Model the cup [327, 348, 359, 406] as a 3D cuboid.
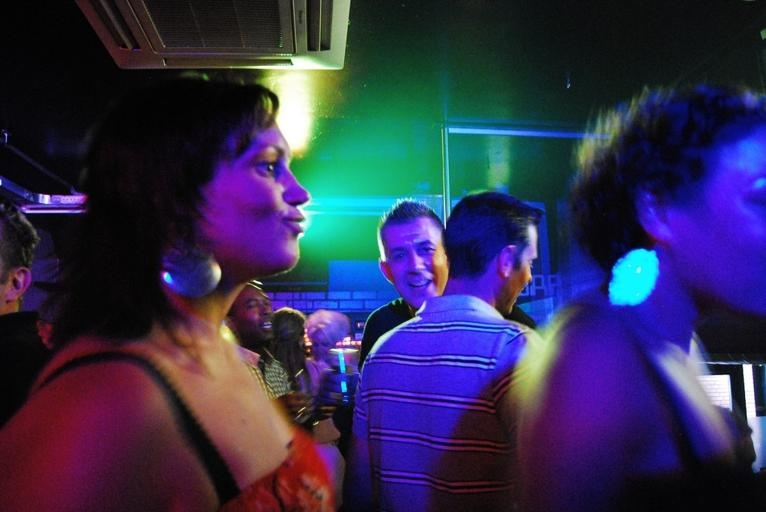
[{"bbox_3d":[-0.174,0.579,2.822,0.223,0.223,0.214,-1,2,0],"label":"cup"}]
